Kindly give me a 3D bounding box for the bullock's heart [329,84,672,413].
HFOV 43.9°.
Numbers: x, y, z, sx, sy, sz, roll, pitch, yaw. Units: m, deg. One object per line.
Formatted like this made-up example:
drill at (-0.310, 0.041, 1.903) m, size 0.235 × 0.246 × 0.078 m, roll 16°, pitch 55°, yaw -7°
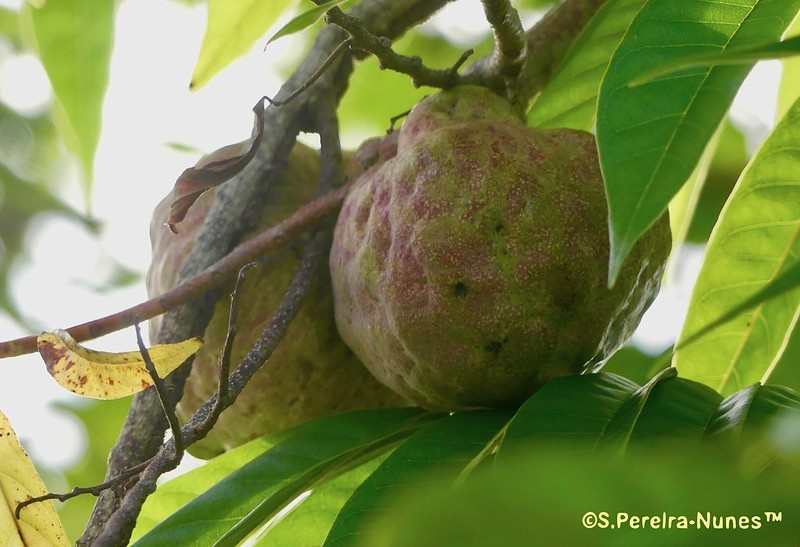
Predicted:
bullock's heart at (0.121, -0.060, 1.166) m, size 0.349 × 0.387 × 0.303 m, roll -27°, pitch 11°, yaw -39°
